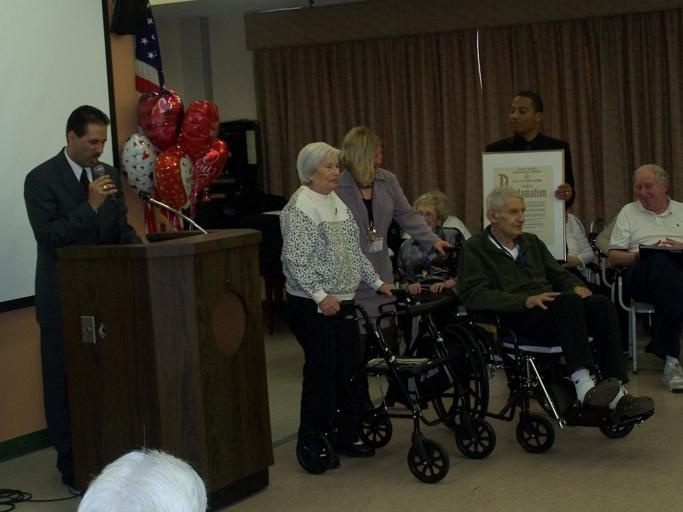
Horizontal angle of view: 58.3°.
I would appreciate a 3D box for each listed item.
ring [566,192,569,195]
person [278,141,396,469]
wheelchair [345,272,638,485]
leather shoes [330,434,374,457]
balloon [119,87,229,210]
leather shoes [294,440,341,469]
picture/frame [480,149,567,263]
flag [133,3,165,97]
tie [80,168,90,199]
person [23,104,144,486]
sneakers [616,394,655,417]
[{"bbox_3d":[1.650,-0.459,4.480,0.013,0.022,0.005,0,2,-20],"label":"ring"},{"bbox_3d":[-0.083,0.300,3.654,0.516,1.931,0.512,-2,6,2],"label":"person"},{"bbox_3d":[0.787,0.648,3.727,1.661,1.286,0.973,2,2,38],"label":"wheelchair"},{"bbox_3d":[0.072,1.180,3.842,0.339,0.158,0.121,-2,-1,9],"label":"leather shoes"},{"bbox_3d":[-1.202,-0.719,4.751,0.805,1.161,0.758,3,7,-15],"label":"balloon"},{"bbox_3d":[-0.153,1.162,3.566,0.190,0.210,0.064,-23,8,30],"label":"leather shoes"},{"bbox_3d":[1.308,-0.344,4.368,0.682,1.068,0.076,-1,-1,8],"label":"picture/frame"},{"bbox_3d":[-1.515,-1.608,4.812,0.213,0.713,0.382,-4,7,-17],"label":"flag"},{"bbox_3d":[-1.491,-0.414,3.573,0.037,0.195,0.049,-4,-9,-12],"label":"tie"},{"bbox_3d":[-1.465,0.239,3.588,0.583,2.172,0.593,-5,7,-28],"label":"person"},{"bbox_3d":[1.733,0.889,3.634,0.182,0.082,0.134,-8,8,27],"label":"sneakers"}]
